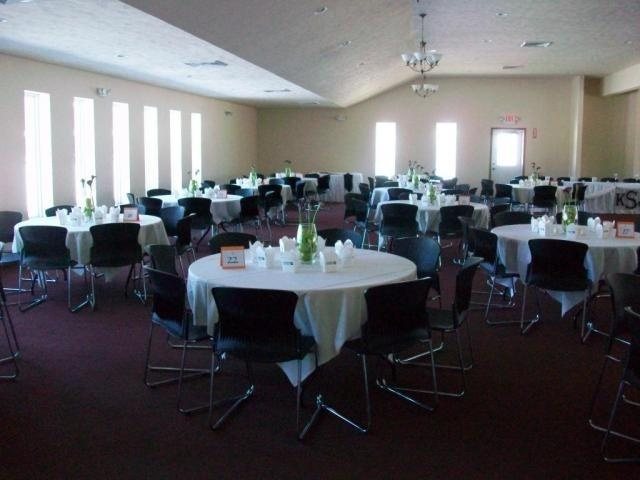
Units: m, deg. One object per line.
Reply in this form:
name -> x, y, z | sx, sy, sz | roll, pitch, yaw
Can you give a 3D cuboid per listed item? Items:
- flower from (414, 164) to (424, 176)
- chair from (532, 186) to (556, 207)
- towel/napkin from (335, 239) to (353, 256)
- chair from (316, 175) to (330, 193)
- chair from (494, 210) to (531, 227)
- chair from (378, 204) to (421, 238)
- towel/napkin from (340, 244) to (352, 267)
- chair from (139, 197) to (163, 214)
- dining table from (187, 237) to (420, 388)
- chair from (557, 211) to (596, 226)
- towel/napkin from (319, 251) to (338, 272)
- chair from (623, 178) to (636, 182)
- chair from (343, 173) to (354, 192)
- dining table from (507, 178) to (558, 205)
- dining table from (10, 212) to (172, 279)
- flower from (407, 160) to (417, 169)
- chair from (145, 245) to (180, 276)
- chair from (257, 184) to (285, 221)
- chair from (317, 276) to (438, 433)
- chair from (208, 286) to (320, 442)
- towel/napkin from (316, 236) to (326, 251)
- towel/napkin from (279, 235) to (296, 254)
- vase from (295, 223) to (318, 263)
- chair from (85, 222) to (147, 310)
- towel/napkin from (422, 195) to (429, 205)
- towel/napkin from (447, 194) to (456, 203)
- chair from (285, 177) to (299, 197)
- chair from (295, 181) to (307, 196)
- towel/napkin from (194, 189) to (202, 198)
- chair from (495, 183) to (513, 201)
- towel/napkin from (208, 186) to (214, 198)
flower -> 3.467, -2.458, 16.221 | 0.355, 0.363, 0.269 | 3, 15, 11
chair -> 5.081, -0.954, 10.563 | 0.461, 0.559, 0.874 | 7, 16, 25
towel/napkin -> 0.191, 0.055, 3.667 | 0.112, 0.129, 0.115 | -1, 5, -10
chair -> 0.147, -1.628, 13.562 | 0.412, 0.642, 0.478 | 3, 8, 9
chair -> 2.323, -0.257, 5.584 | 0.250, 0.217, 0.248 | -4, 4, -36
chair -> 1.128, -0.289, 6.752 | 0.461, 0.700, 0.495 | 3, 24, 11
towel/napkin -> 0.210, 0.117, 3.594 | 0.095, 0.160, 0.150 | 1, -1, 3
chair -> -2.737, -0.533, 7.546 | 0.374, 0.288, 0.315 | -2, 15, -8
dining table -> -0.002, 0.381, 3.439 | 1.228, 0.706, 1.204 | 2, 4, 37
chair -> 3.243, -0.280, 5.766 | 0.296, 0.262, 0.329 | 0, 2, -29
towel/napkin -> 0.069, 0.164, 3.599 | 0.122, 0.192, 0.141 | -4, 8, -19
chair -> 8.628, -1.641, 12.986 | 0.201, 0.168, 0.208 | -3, 6, 1
chair -> 0.911, -1.826, 15.031 | 0.309, 0.600, 0.634 | 1, 15, 3
dining table -> 4.929, -1.152, 11.282 | 0.851, 0.361, 0.868 | -8, 17, -23
dining table -> -2.398, -0.026, 5.656 | 1.240, 0.511, 1.230 | 1, 3, -2
flower -> 3.244, -2.609, 16.328 | 0.314, 0.344, 0.238 | 4, -2, -19
chair -> -1.326, 0.146, 3.947 | 0.256, 0.386, 0.254 | -3, 1, -43
chair -> -1.011, -0.796, 9.836 | 0.564, 0.955, 0.660 | -2, 11, -4
chair -> 0.391, 0.822, 3.298 | 0.739, 1.089, 0.706 | -7, 13, -33
chair -> -0.293, 0.705, 3.382 | 0.841, 1.346, 0.889 | 2, 11, 7
towel/napkin -> 0.019, 0.024, 3.791 | 0.087, 0.119, 0.097 | 0, -7, 8
towel/napkin -> -0.251, 0.036, 3.698 | 0.109, 0.163, 0.133 | -3, 2, 3
vase -> -0.101, 0.036, 3.706 | 0.179, 0.316, 0.183 | 0, 5, -6
chair -> -2.338, 0.297, 5.356 | 0.636, 1.170, 0.767 | -3, 18, -16
towel/napkin -> 1.639, -0.597, 7.291 | 0.126, 0.133, 0.133 | 9, 37, 26
towel/napkin -> 2.102, -0.643, 7.450 | 0.149, 0.101, 0.156 | -3, 10, -8
chair -> -0.644, -1.411, 12.389 | 0.426, 0.588, 0.492 | -1, 6, -8
chair -> -0.450, -1.269, 11.655 | 0.297, 0.454, 0.353 | 5, 9, 12
towel/napkin -> -2.223, -0.851, 8.592 | 0.159, 0.124, 0.158 | -1, -4, -34
chair -> 4.378, -1.155, 11.197 | 0.411, 0.304, 0.598 | 10, 18, 34
towel/napkin -> -1.929, -0.838, 8.423 | 0.124, 0.187, 0.131 | -2, 8, -8
